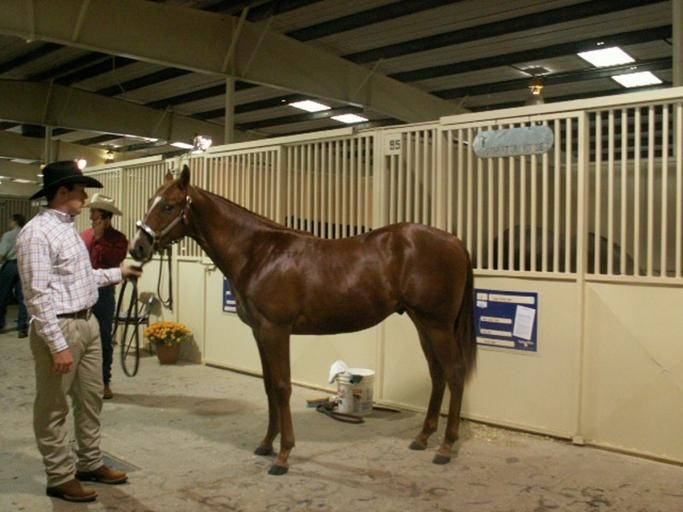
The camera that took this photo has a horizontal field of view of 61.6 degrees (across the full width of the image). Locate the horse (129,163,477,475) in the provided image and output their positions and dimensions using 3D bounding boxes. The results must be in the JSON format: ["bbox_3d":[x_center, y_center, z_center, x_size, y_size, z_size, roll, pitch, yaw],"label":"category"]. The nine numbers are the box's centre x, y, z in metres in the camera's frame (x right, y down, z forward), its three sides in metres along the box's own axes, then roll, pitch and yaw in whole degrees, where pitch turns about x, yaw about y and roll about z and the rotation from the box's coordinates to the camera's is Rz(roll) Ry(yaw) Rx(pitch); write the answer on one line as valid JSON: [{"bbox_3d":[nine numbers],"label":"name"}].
[{"bbox_3d":[-0.190,0.406,4.106,2.599,2.037,0.804,1,5,10],"label":"horse"}]

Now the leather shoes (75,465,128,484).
[{"bbox_3d":[-1.747,1.395,3.693,0.375,0.134,0.136,1,-4,-1],"label":"leather shoes"}]

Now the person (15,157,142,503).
[{"bbox_3d":[-1.898,0.442,3.551,0.618,2.058,0.623,1,5,3],"label":"person"}]

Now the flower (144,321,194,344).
[{"bbox_3d":[-2.353,0.913,6.888,0.420,0.197,0.355,2,1,7],"label":"flower"}]

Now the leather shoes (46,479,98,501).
[{"bbox_3d":[-1.840,1.404,3.471,0.347,0.117,0.139,3,-4,2],"label":"leather shoes"}]

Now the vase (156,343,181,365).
[{"bbox_3d":[-2.385,1.163,6.852,0.309,0.181,0.275,2,-2,-6],"label":"vase"}]

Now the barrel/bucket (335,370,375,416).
[{"bbox_3d":[0.117,1.187,5.070,0.455,0.344,0.404,0,-3,-5],"label":"barrel/bucket"}]
